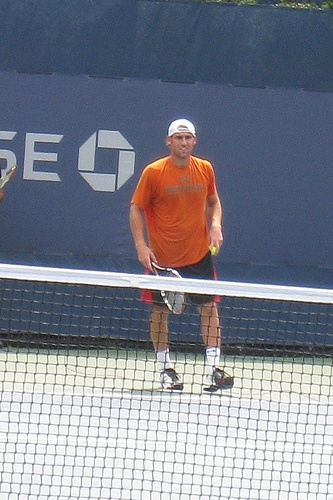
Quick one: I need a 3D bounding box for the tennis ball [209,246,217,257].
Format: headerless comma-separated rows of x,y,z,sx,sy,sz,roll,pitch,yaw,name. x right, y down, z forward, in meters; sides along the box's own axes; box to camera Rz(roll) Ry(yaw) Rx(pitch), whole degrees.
0.284,0.012,4.573,0.038,0.051,0.019,4,45,-22,tennis ball

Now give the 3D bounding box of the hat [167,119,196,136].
0.099,-0.725,4.491,0.156,0.104,0.170,15,22,32,hat

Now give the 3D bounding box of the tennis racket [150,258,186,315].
0.010,0.252,4.410,0.203,0.338,0.452,3,19,-1,tennis racket

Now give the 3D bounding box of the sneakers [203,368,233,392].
0.305,0.762,4.340,0.216,0.148,0.086,0,2,35,sneakers

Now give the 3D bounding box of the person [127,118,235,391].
0.084,0.048,4.536,0.621,1.596,0.871,2,19,-4,person
